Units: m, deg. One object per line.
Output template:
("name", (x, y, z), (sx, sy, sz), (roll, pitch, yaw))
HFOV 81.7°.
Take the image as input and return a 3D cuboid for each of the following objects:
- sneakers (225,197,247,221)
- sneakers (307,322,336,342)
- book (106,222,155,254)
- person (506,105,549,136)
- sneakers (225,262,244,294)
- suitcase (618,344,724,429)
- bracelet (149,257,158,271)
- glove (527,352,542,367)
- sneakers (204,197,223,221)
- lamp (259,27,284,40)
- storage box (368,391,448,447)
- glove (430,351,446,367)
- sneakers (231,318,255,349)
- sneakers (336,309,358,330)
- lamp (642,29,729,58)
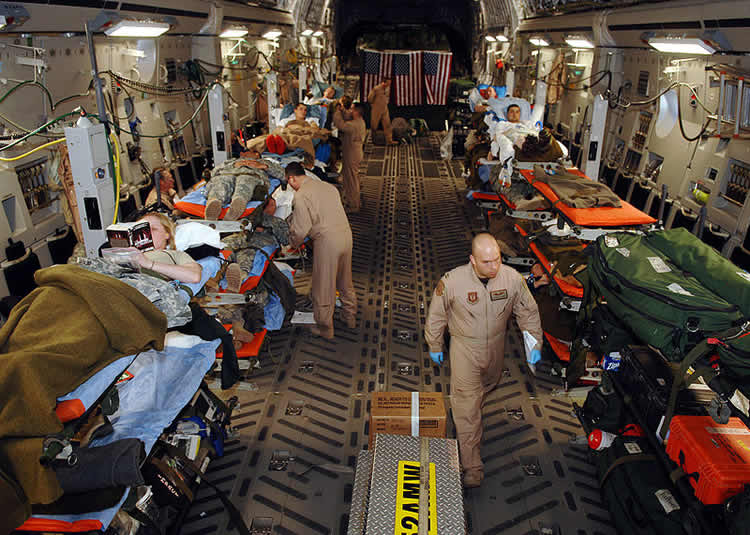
("sneakers", (-1.806, -0.757, 5.699), (0.190, 0.331, 0.147), (28, 4, 0))
("sneakers", (-0.772, 0.958, 6.379), (0.381, 0.256, 0.187), (20, 34, 17))
("book", (-2.241, -0.265, 3.942), (0.430, 0.246, 0.313), (1, -9, -42))
("person", (2.953, -2.885, 8.631), (0.906, 0.372, 0.965), (6, 34, 1))
("sneakers", (-1.766, 0.126, 5.513), (0.209, 0.387, 0.166), (5, 17, 8))
("suitcase", (2.743, 1.087, 4.204), (0.669, 0.224, 0.660), (8, 27, -9))
("bracelet", (-1.933, -0.027, 3.781), (0.077, 0.104, 0.039), (-3, -12, -10))
("glove", (1.647, 0.935, 4.479), (0.153, 0.151, 0.158), (-8, 22, 7))
("sneakers", (-2.068, -0.780, 5.556), (0.164, 0.324, 0.138), (15, 15, -9))
("lamp", (-3.208, -7.487, 13.747), (0.809, 0.226, 0.881), (-9, 9, -20))
("storage box", (0.311, 1.438, 4.187), (0.847, 0.445, 0.576), (2, -16, -1))
("glove", (0.666, 1.001, 4.664), (0.236, 0.090, 0.233), (1, -1, 0))
("sneakers", (-1.841, 0.915, 5.956), (0.228, 0.377, 0.173), (-38, -17, -7))
("sneakers", (-0.442, 0.755, 6.713), (0.154, 0.291, 0.416), (-11, 33, -13))
("lamp", (4.983, -3.552, 6.854), (0.818, 0.207, 0.909), (6, 13, 12))
